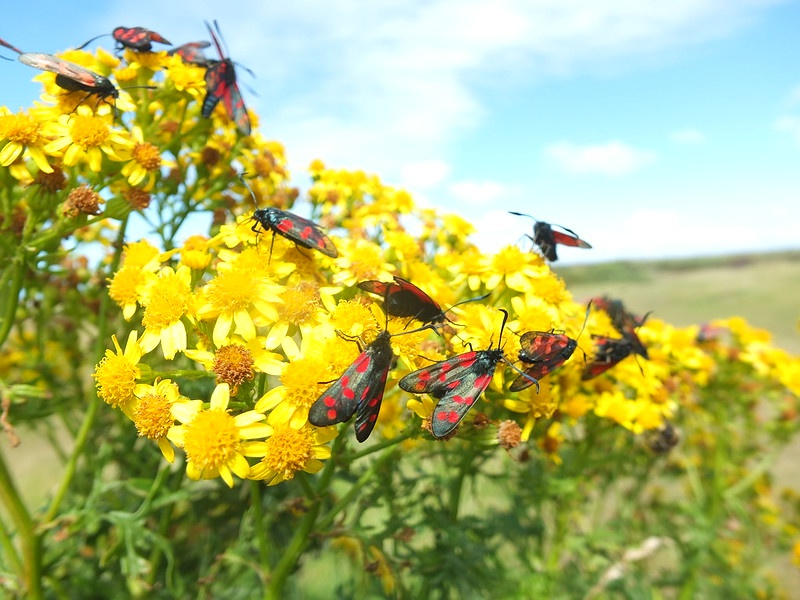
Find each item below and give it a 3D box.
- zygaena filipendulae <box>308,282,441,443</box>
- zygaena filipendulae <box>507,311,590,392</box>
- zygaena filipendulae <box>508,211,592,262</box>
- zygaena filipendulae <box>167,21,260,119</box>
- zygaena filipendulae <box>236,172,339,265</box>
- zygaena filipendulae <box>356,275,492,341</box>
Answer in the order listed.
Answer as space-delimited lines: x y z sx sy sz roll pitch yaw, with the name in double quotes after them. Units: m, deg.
-0.159 0.343 3.410 0.371 0.550 0.139 29 -21 -14 "zygaena filipendulae"
0.753 0.273 3.738 0.383 0.346 0.119 -14 13 -20 "zygaena filipendulae"
0.794 -0.303 3.854 0.271 0.218 0.438 -2 4 25 "zygaena filipendulae"
-1.049 -1.209 4.158 0.361 0.520 0.267 -1 4 35 "zygaena filipendulae"
-0.663 -0.375 3.919 0.582 0.316 0.396 26 -6 -17 "zygaena filipendulae"
0.152 0.058 3.674 0.619 0.281 0.558 0 15 10 "zygaena filipendulae"
